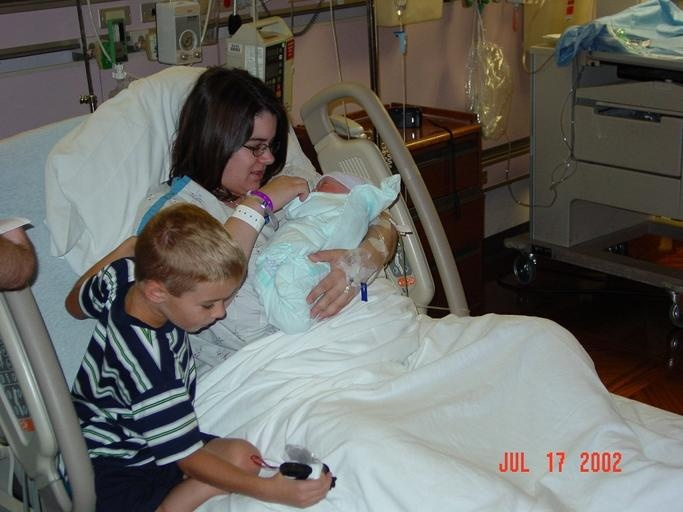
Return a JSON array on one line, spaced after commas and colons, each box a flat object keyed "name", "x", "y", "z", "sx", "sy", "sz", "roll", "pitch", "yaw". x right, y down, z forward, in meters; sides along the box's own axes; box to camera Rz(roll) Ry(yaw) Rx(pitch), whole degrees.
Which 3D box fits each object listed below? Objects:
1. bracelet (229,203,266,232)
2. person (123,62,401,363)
[{"name": "bracelet", "x": -0.271, "y": -0.113, "z": 1.538, "sx": 0.098, "sy": 0.061, "sz": 0.097, "roll": 31, "pitch": -14, "yaw": -16}, {"name": "person", "x": -0.309, "y": -0.110, "z": 1.796, "sx": 0.897, "sy": 0.883, "sz": 0.676, "roll": 16, "pitch": 24, "yaw": 26}]
